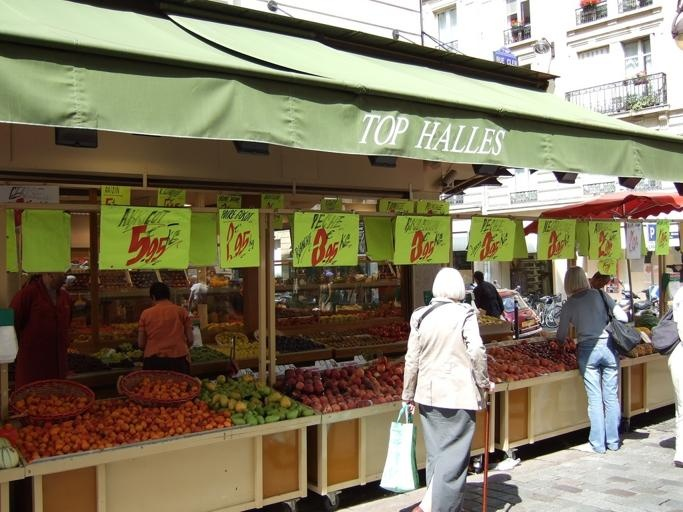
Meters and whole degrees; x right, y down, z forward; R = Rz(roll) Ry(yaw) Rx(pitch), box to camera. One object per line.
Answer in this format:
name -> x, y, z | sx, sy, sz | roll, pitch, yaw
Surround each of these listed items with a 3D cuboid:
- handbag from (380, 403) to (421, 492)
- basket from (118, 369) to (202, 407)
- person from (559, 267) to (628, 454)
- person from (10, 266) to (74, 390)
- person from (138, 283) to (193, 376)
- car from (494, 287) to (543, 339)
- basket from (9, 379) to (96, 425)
handbag -> 0.540, 1.641, 5.195 | 0.311, 0.742, 0.171 | -3, -23, 26
basket -> -1.776, 1.286, 5.780 | 0.553, 0.195, 0.563 | 6, 16, -36
person -> 3.120, 1.211, 7.408 | 0.838, 2.212, 0.647 | -5, -3, 34
person -> -3.271, 0.829, 6.589 | 0.597, 1.294, 0.576 | 19, 12, 28
person -> -2.004, 0.874, 6.821 | 0.588, 1.044, 0.589 | 11, 7, -26
car -> 4.774, 1.667, 15.847 | 1.120, 1.050, 2.244 | -5, 11, -18
basket -> -2.593, 1.238, 5.373 | 0.751, 0.292, 0.657 | -2, 10, -40
